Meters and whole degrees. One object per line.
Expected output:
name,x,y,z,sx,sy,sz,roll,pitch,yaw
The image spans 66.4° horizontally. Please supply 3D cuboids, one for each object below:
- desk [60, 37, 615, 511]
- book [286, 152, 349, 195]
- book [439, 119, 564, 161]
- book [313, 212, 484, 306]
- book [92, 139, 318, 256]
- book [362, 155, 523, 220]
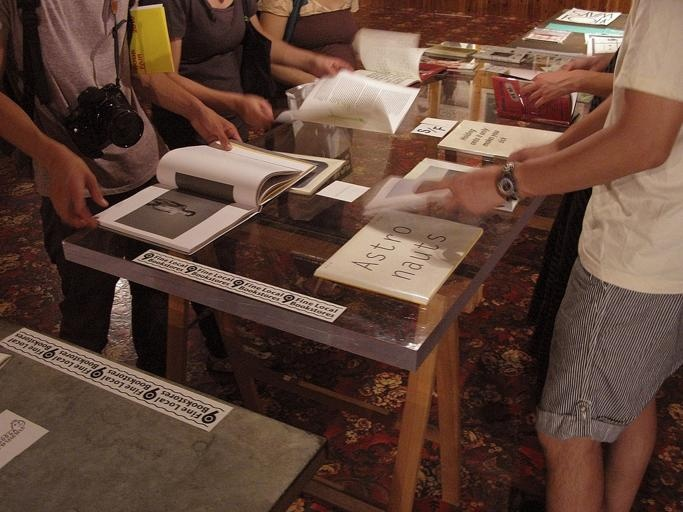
desk,0.153,0.026,1.971,1.179,0.834,1.634,21,40,26
book,-0.069,-0.243,1.555,0.200,0.015,0.158,15,35,21
book,0.518,-0.376,1.698,0.331,0.024,0.210,13,36,26
book,0.141,-0.014,1.205,0.264,0.015,0.267,25,59,24
book,-0.382,-0.187,1.392,0.292,0.080,0.502,33,54,30
book,0.204,-0.194,1.461,0.280,0.047,0.235,15,35,33
